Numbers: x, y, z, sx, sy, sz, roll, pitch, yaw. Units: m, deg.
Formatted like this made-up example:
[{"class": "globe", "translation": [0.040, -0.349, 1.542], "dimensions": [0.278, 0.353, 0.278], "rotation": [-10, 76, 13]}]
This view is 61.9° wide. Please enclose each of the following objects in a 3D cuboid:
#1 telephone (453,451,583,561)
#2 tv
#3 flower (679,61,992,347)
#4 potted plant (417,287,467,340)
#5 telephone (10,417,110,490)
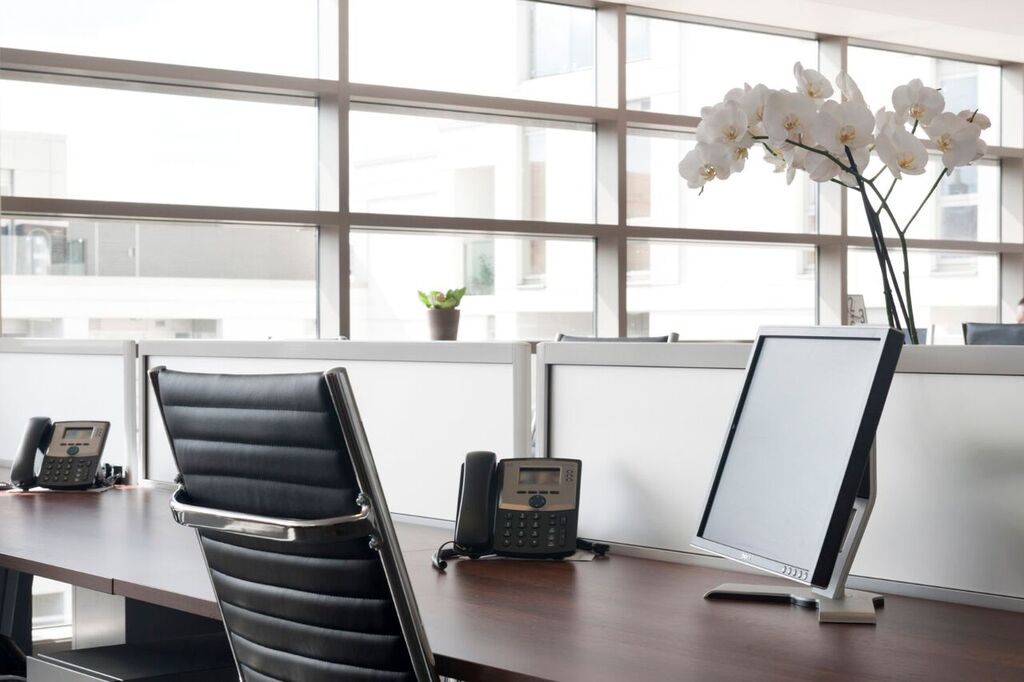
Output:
[{"class": "telephone", "translation": [0.001, 0.395, 2.068], "dimensions": [0.334, 0.260, 0.198], "rotation": [-3, -8, 10]}, {"class": "tv", "translation": [0.634, 0.267, 1.754], "dimensions": [0.392, 0.609, 0.458], "rotation": [1, 1, -27]}, {"class": "flower", "translation": [0.701, -0.294, 1.904], "dimensions": [0.592, 0.618, 0.324], "rotation": [7, 13, 38]}, {"class": "potted plant", "translation": [-0.331, -0.123, 4.166], "dimensions": [0.228, 0.250, 0.254], "rotation": [2, 0, 37]}, {"class": "telephone", "translation": [-1.424, 0.362, 2.806], "dimensions": [0.290, 0.286, 0.240], "rotation": [1, -5, 5]}]
